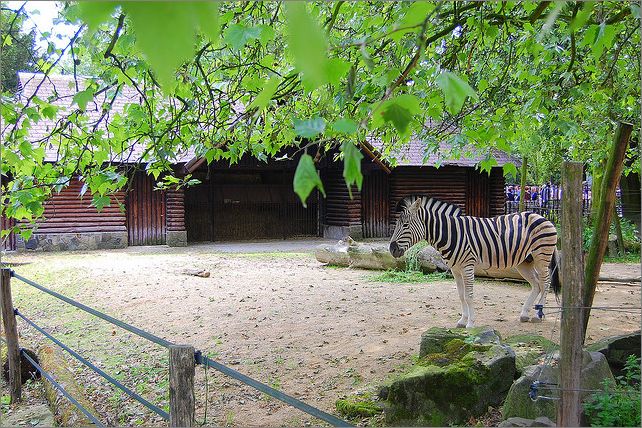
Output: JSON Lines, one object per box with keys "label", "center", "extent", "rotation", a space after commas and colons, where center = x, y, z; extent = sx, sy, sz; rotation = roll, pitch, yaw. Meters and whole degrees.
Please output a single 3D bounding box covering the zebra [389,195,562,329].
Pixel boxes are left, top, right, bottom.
{"label": "zebra", "center": [2.621, 0.764, 8.283], "extent": [2.637, 2.166, 0.682], "rotation": [-2, 7, -1]}
